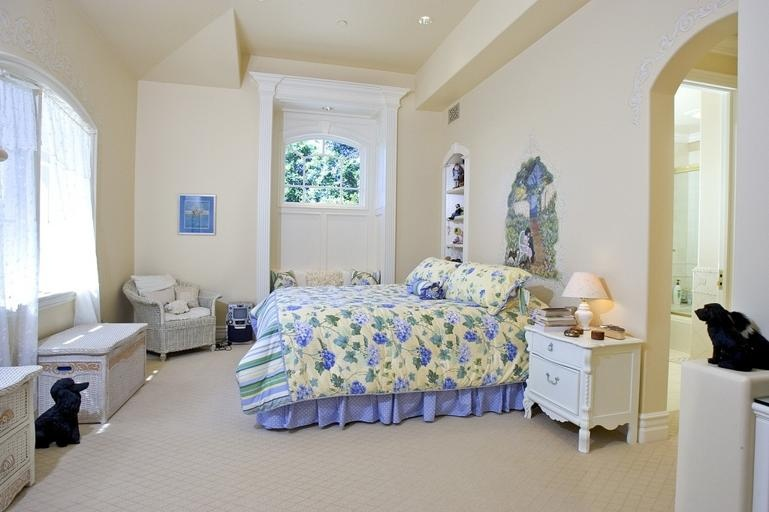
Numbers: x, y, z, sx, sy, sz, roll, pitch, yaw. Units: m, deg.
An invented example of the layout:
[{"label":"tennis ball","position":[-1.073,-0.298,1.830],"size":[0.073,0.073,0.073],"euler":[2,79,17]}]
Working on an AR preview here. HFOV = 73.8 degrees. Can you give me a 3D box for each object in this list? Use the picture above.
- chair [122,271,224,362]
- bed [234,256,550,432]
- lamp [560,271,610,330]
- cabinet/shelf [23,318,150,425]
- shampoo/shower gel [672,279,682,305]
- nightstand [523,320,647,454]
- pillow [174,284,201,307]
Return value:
[{"label":"chair","position":[-2.730,0.766,6.598],"size":[1.117,0.970,0.850],"euler":[0,4,-16]},{"label":"bed","position":[0.046,0.932,5.113],"size":[1.948,0.882,1.980],"euler":[2,-3,-8]},{"label":"lamp","position":[1.808,0.387,4.828],"size":[0.493,0.550,0.479],"euler":[-2,5,-32]},{"label":"cabinet/shelf","position":[-2.882,1.119,5.062],"size":[0.722,0.747,0.906],"euler":[1,4,0]},{"label":"shampoo/shower gel","position":[4.176,0.511,7.278],"size":[0.115,0.330,0.267],"euler":[3,5,30]},{"label":"nightstand","position":[1.770,1.048,4.921],"size":[0.870,1.157,1.191],"euler":[1,-1,-17]},{"label":"pillow","position":[-2.619,0.544,6.788],"size":[0.277,0.108,0.289],"euler":[5,48,-26]}]
